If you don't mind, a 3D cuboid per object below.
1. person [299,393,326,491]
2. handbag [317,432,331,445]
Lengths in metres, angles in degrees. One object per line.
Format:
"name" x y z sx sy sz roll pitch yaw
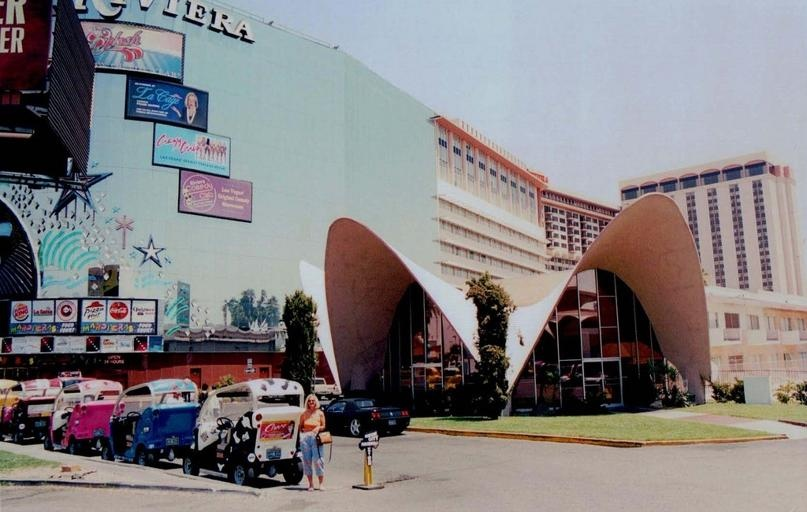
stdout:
"person" -3.036 6.326 20.032 0.935 3.094 1.290 4 -14 -3
"handbag" -2.621 6.079 19.782 0.411 0.384 0.407 5 -15 -8
